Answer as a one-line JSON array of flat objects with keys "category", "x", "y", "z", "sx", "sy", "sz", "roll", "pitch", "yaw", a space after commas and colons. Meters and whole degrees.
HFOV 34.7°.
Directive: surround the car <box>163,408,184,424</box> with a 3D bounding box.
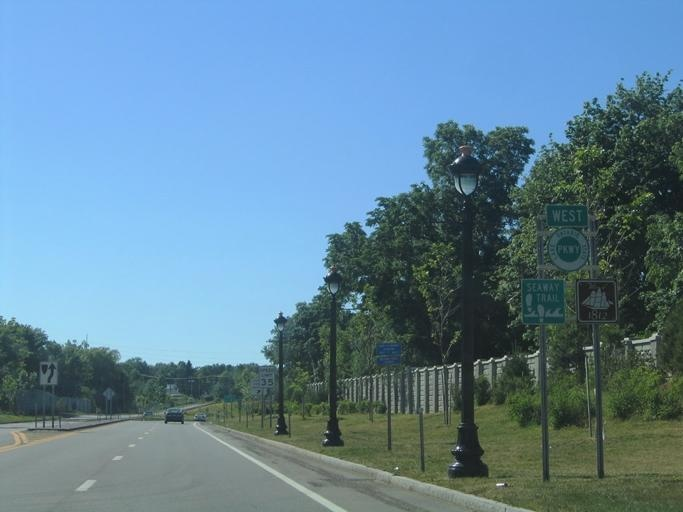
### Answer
[{"category": "car", "x": -12.914, "y": 12.203, "z": 84.590, "sx": 0.887, "sy": 0.845, "sz": 1.595, "roll": 1, "pitch": -14, "yaw": -5}]
